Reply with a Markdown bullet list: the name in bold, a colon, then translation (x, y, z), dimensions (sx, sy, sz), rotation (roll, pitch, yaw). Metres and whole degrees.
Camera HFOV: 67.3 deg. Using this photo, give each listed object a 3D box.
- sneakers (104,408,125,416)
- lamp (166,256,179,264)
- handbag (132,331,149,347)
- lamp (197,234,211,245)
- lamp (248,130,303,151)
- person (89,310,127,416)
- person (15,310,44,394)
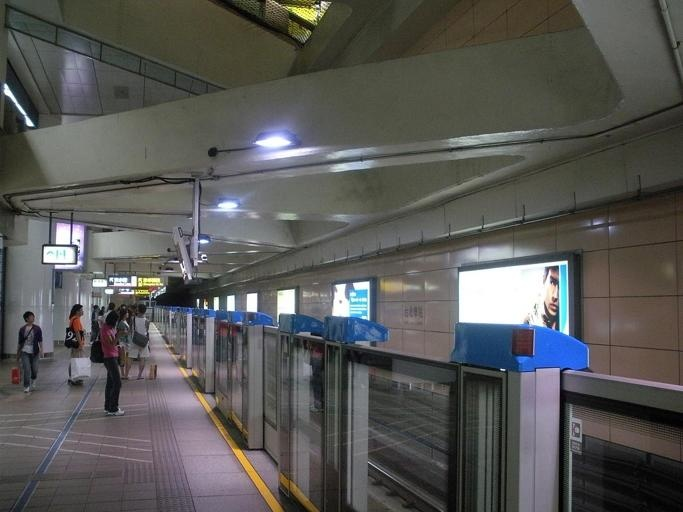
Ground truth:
- **sneakers**: translation (-4.011, 2.790, 9.151), dimensions (0.353, 0.163, 0.133), rotation (3, -2, -18)
- **lamp**: translation (-5.888, 0.119, 17.929), dimensions (0.232, 0.233, 0.057), rotation (0, -8, 13)
- **handbag**: translation (-5.945, 2.454, 15.194), dimensions (0.540, 0.404, 0.423), rotation (23, -6, -37)
- **lamp**: translation (-2.966, -0.375, 11.133), dimensions (0.330, 0.128, 0.341), rotation (-7, -16, 28)
- **lamp**: translation (-0.716, -1.286, 5.631), dimensions (0.477, 0.178, 0.426), rotation (1, -5, 11)
- **person**: translation (-4.180, 1.933, 9.264), dimensions (0.591, 1.869, 1.080), rotation (4, -5, -26)
- **person**: translation (-6.925, 2.086, 11.440), dimensions (0.444, 1.701, 1.479), rotation (4, -5, -32)
